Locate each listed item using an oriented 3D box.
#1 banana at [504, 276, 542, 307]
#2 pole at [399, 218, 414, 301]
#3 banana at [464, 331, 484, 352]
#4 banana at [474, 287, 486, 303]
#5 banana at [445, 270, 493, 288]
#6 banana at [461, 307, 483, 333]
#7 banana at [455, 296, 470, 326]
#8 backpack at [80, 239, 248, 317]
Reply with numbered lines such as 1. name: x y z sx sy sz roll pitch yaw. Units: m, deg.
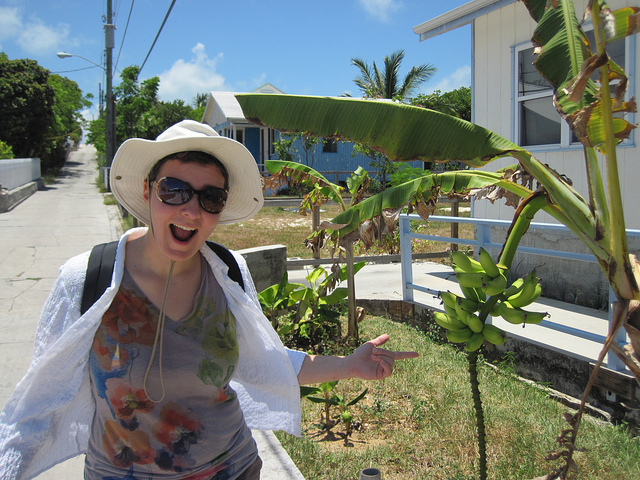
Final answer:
1. banana: 1.222 0.309 3.311 0.093 0.155 0.369 -20 -6 14
2. pole: 1.275 0.235 8.030 0.112 0.898 0.112 -10 26 -2
3. banana: 0.879 0.609 3.142 0.057 0.083 0.168 -27 -3 24
4. banana: 0.982 0.350 3.308 0.038 0.193 0.052 -17 35 4
5. banana: 0.903 0.231 3.186 0.215 0.127 0.150 2 9 19
6. banana: 0.892 0.468 3.171 0.123 0.142 0.069 3 9 24
7. banana: 0.834 0.406 3.186 0.065 0.215 0.052 -13 8 37
8. backpack: -0.828 0.160 2.924 0.865 0.341 0.251 -5 9 -22
